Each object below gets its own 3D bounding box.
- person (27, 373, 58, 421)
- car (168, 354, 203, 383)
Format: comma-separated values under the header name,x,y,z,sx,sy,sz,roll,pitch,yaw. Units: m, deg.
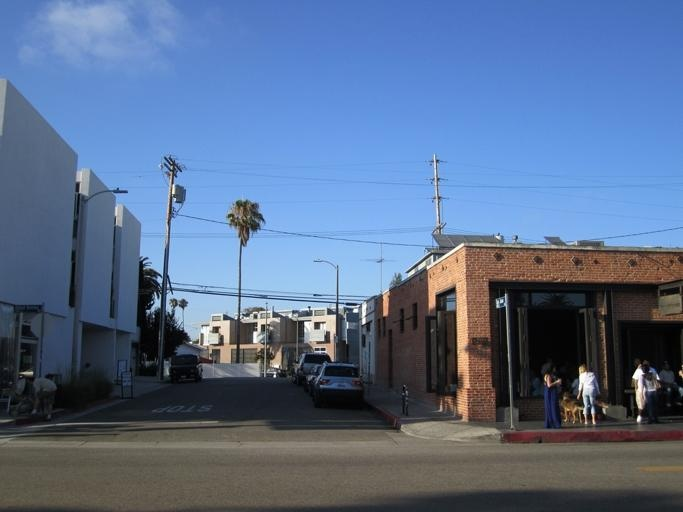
name,x,y,z,sx,sy,sz,roll,pitch,yaw
person,-9.745,4.636,23.854,0.711,1.343,0.796,5,-13,-24
car,-10.159,7.290,47.844,1.949,1.942,1.883,3,-13,-14
